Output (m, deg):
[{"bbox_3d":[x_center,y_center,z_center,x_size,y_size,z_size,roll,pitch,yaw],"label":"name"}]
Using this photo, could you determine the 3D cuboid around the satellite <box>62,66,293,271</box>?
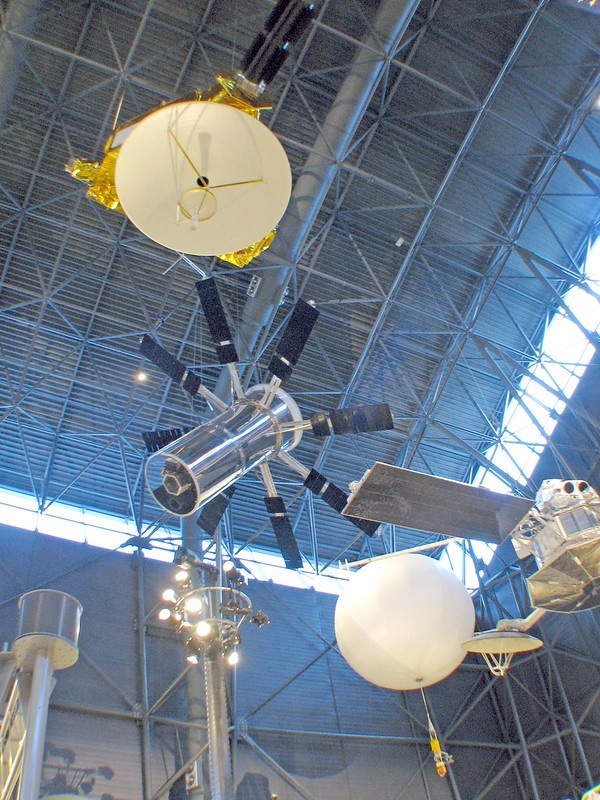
[{"bbox_3d":[-2.517,-4.089,13.217,4.383,1.374,3.393,6,-43,3],"label":"satellite"}]
